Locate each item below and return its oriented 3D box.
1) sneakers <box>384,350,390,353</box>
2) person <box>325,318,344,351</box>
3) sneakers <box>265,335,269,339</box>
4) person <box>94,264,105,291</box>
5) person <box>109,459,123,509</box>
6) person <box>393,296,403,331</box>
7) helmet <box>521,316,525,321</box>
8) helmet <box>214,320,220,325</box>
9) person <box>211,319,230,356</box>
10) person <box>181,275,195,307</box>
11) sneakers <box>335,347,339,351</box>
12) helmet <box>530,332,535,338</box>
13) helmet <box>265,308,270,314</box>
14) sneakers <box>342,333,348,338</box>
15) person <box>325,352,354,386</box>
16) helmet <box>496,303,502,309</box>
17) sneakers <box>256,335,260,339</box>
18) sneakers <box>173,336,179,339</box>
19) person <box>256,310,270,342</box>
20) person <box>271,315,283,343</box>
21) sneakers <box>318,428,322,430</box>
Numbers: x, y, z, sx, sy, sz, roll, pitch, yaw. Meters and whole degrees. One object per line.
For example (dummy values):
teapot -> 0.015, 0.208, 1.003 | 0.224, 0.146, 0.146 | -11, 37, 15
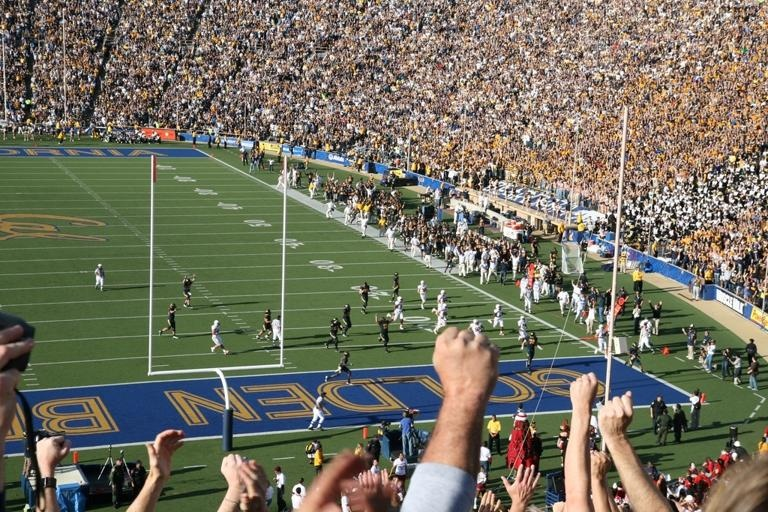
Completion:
sneakers -> 0.224, 4.478, 58.961 | 0.203, 0.149, 0.321 | 2, 7, -6
person -> -2.382, 3.604, 59.407 | 0.705, 1.464, 2.340 | 2, 7, -2
sneakers -> -5.592, 3.855, 59.545 | 0.169, 0.097, 0.221 | 2, 2, 23
person -> -14.844, 0.988, 64.681 | 0.509, 1.321, 2.904 | 1, 7, -13
person -> -10.349, 8.821, 48.099 | 0.493, 1.881, 0.282 | 1, 7, -11
person -> 0.796, 2.793, 61.608 | 0.541, 1.504, 1.058 | 2, 7, 0
helmet -> 6.872, 3.027, 60.444 | 0.182, 0.228, 0.225 | -3, -11, 4
helmet -> -7.885, 3.142, 58.574 | 0.173, 0.239, 0.233 | 8, 0, 25
person -> -7.727, 3.669, 58.529 | 0.794, 1.515, 2.317 | 1, 7, -8
person -> -10.032, 1.682, 63.497 | 0.547, 1.459, 2.985 | 1, 7, -10
sneakers -> -2.162, 4.374, 58.831 | 0.110, 0.190, 0.310 | 3, 7, 4
helmet -> 7.037, 3.673, 57.716 | 0.262, 0.224, 0.243 | 3, -2, 0
helmet -> -5.576, 2.660, 59.906 | 0.231, 0.161, 0.358 | 0, -9, 1
sneakers -> -1.856, 3.857, 60.304 | 0.276, 0.182, 0.107 | -5, 29, -23
person -> -2.162, 4.874, 56.621 | 1.572, 1.954, 0.959 | 3, 35, -1
helmet -> 5.927, 2.548, 63.056 | 0.251, 0.194, 0.200 | -9, 17, -28
sneakers -> -6.006, 3.876, 59.563 | 0.165, 0.152, 0.121 | 3, -1, -14
sneakers -> -9.937, 3.869, 59.109 | 0.325, 0.104, 0.198 | 3, -19, 5
person -> -5.773, 3.191, 60.133 | 0.716, 1.359, 2.210 | 2, 7, -6
person -> -5.068, 3.470, 58.751 | 0.395, 1.500, 1.288 | 1, 7, -10
sneakers -> -2.704, 7.368, 52.948 | 0.193, 0.099, 0.071 | 1, 0, 0
